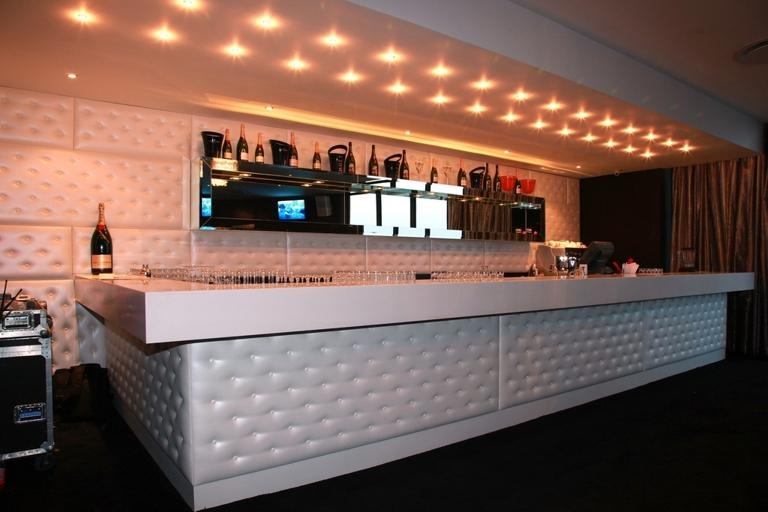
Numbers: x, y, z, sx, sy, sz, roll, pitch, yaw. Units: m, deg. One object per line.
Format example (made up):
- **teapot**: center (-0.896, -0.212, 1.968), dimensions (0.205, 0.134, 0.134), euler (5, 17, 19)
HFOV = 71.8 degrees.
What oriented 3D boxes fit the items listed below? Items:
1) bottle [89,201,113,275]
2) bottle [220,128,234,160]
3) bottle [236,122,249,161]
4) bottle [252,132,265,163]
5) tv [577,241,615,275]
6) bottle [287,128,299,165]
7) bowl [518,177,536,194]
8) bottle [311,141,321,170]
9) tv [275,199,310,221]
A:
- **bottle**: center (-2.555, -0.160, 4.781), dimensions (0.202, 0.605, 0.416), euler (-7, 14, -29)
- **bottle**: center (-1.551, -1.116, 5.235), dimensions (0.109, 0.278, 0.246), euler (-3, 13, -15)
- **bottle**: center (-1.390, -1.127, 5.187), dimensions (0.120, 0.352, 0.439), euler (-3, 13, -13)
- **bottle**: center (-1.232, -1.076, 5.261), dimensions (0.109, 0.277, 0.427), euler (-3, 13, -13)
- **tv**: center (2.377, 0.018, 5.965), dimensions (0.394, 0.527, 0.298), euler (-2, 6, -16)
- **bottle**: center (-0.938, -1.123, 5.535), dimensions (0.097, 0.340, 0.205), euler (-2, 13, -9)
- **bowl**: center (1.856, -0.913, 6.848), dimensions (0.256, 0.192, 0.225), euler (1, 0, -43)
- **bottle**: center (-0.703, -1.057, 5.560), dimensions (0.106, 0.265, 0.407), euler (-1, 12, -6)
- **tv**: center (-0.914, -0.445, 5.247), dimensions (0.354, 0.242, 0.187), euler (0, 0, -37)
